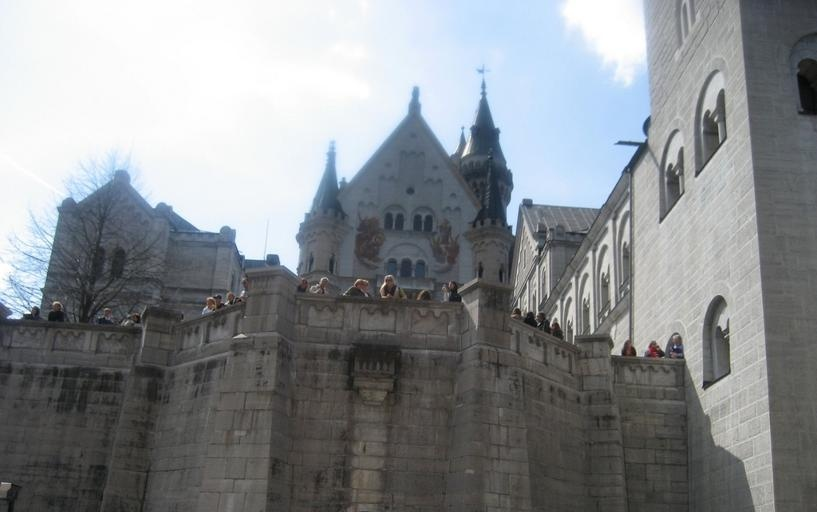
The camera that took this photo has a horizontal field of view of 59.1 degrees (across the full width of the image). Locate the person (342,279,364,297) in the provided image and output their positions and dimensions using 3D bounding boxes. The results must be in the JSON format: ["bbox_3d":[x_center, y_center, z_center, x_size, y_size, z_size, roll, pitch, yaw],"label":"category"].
[{"bbox_3d":[-2.043,1.219,26.334,0.738,0.760,0.674,2,-18,3],"label":"person"}]

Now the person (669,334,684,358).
[{"bbox_3d":[11.485,3.879,30.962,0.334,0.413,0.940,15,17,13],"label":"person"}]
